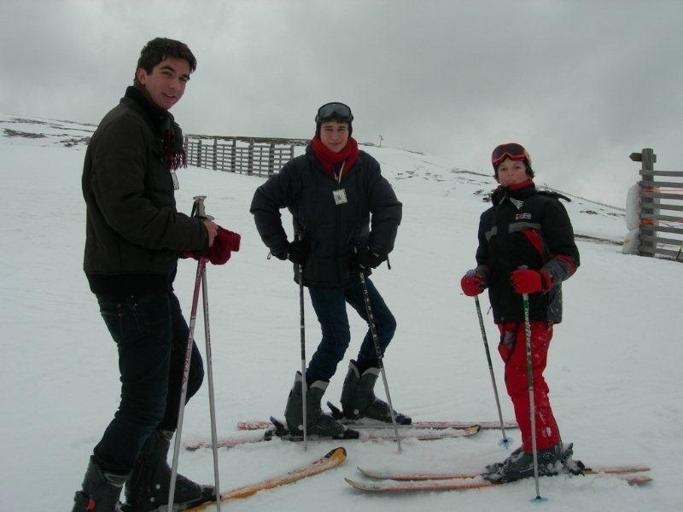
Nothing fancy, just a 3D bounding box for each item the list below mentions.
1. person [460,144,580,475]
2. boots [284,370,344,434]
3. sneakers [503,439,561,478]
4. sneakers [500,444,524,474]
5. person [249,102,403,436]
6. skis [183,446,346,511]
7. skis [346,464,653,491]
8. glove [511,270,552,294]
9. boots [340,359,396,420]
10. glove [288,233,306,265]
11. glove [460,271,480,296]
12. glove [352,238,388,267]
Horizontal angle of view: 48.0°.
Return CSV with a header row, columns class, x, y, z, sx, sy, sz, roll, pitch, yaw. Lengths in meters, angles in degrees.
class,x,y,z,sx,sy,sz,roll,pitch,yaw
person,1.521,0.462,6.543,0.922,2.749,0.542,2,1,20
boots,-0.201,1.367,7.132,0.606,0.613,0.338,9,18,0
sneakers,1.585,1.727,6.488,0.601,0.282,0.211,-11,6,4
sneakers,1.424,1.729,6.441,0.087,0.255,0.136,21,2,-32
person,-0.091,0.147,7.096,1.322,2.603,0.550,1,1,-2
skis,-0.648,1.891,6.439,1.647,0.185,0.242,-13,9,-29
skis,1.383,1.860,6.417,2.196,0.122,0.255,0,-2,0
glove,1.560,0.213,6.332,0.312,0.205,0.178,1,1,-23
boots,0.296,1.354,7.404,0.620,0.637,0.291,7,0,-19
glove,-0.404,-0.055,6.975,0.158,0.222,0.113,1,1,-40
glove,1.147,0.245,6.769,0.155,0.225,0.077,7,-2,10
glove,0.237,-0.041,7.009,0.279,0.230,0.246,34,44,23
